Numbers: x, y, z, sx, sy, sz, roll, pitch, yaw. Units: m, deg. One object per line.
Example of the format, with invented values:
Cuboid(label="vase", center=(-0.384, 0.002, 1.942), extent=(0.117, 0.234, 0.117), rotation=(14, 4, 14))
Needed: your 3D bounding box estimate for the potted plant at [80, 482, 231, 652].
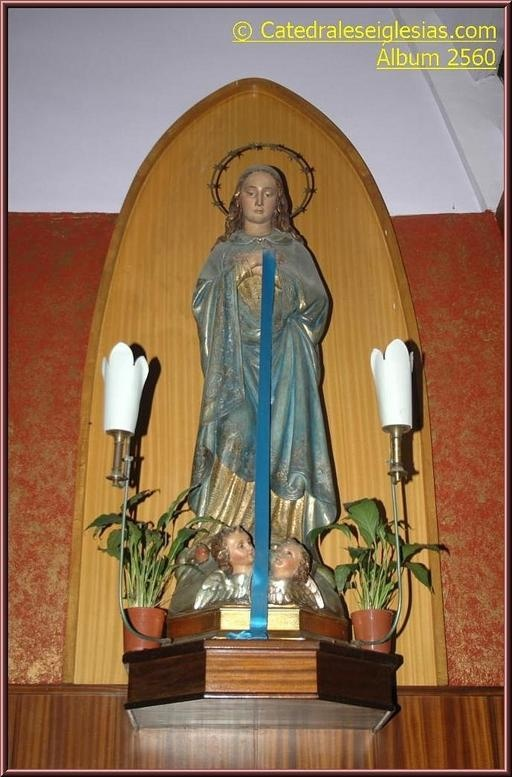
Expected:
Cuboid(label="potted plant", center=(-0.290, 0.512, 2.403), extent=(0.218, 0.458, 0.391), rotation=(-14, -19, 43))

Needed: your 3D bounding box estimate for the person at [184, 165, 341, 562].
Cuboid(label="person", center=(0.019, -0.122, 2.730), extent=(0.449, 1.338, 0.278), rotation=(4, -29, -5))
